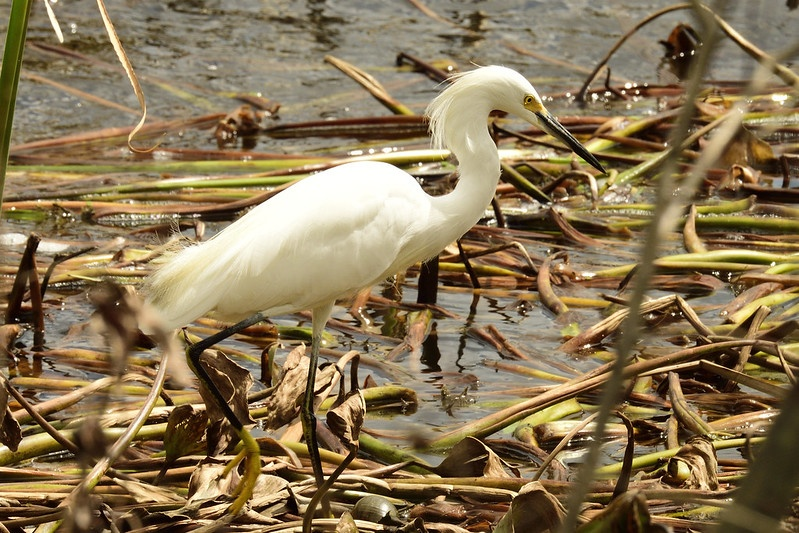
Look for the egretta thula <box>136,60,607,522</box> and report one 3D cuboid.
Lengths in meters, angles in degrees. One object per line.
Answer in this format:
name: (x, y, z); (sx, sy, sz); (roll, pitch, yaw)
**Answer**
egretta thula: (-0.439, -0.142, 4.535); (1.076, 1.765, 1.824); (19, 22, 37)
